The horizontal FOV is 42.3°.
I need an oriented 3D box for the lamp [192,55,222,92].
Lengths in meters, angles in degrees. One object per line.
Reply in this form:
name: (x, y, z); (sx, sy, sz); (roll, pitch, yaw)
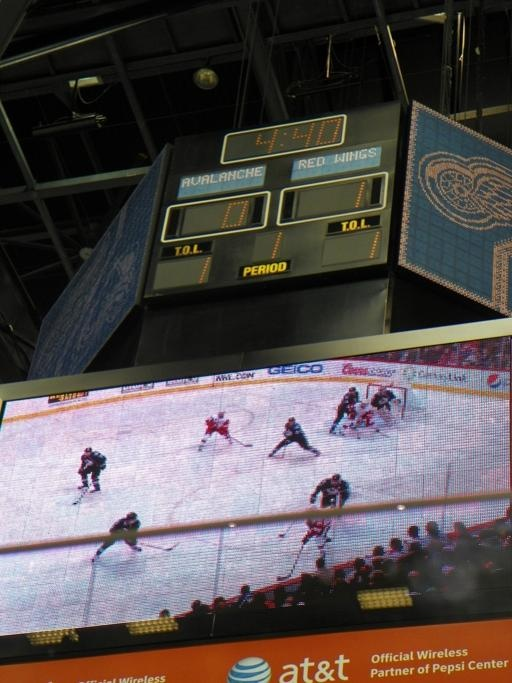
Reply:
lamp: (-0.806, -4.089, 10.284); (0.458, 0.469, 0.453); (-7, 51, -14)

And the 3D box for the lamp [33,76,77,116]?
lamp: (-3.136, -4.052, 10.747); (0.771, 0.655, 0.399); (0, 23, -9)
